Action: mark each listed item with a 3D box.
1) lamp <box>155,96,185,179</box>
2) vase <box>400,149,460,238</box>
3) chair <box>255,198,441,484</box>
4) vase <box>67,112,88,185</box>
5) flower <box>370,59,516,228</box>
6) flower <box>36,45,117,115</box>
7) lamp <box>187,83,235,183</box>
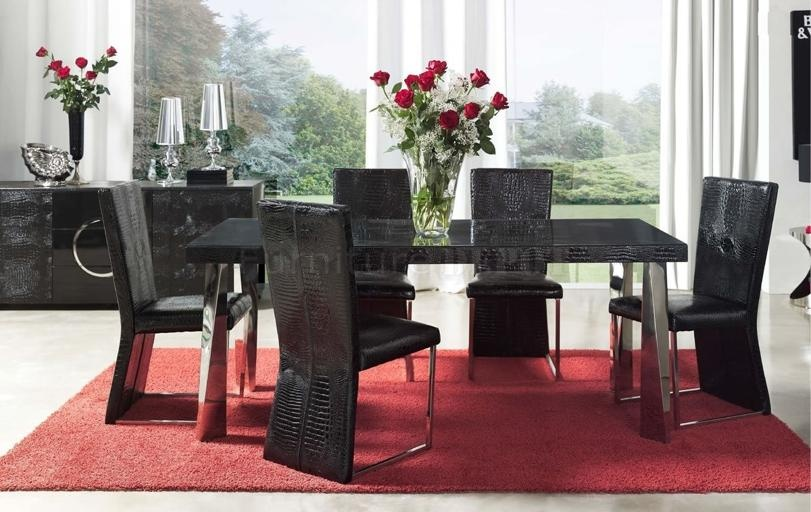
[{"bbox_3d":[-2.131,-1.063,5.568,0.235,0.785,0.608,-5,10,-20],"label":"lamp"},{"bbox_3d":[0.151,-0.368,3.516,0.410,0.481,0.384,-3,12,-4],"label":"vase"},{"bbox_3d":[-0.267,0.402,3.208,0.711,1.280,0.817,4,5,32],"label":"chair"},{"bbox_3d":[-2.876,-0.967,5.377,0.141,0.622,0.304,-6,10,-26],"label":"vase"},{"bbox_3d":[0.146,-0.564,3.528,0.751,0.888,0.633,-11,27,-40],"label":"flower"},{"bbox_3d":[-2.896,-1.527,5.607,0.826,0.675,0.666,-3,19,-15],"label":"flower"},{"bbox_3d":[-1.797,-1.135,5.586,0.373,0.935,0.883,-4,10,-15],"label":"lamp"}]
